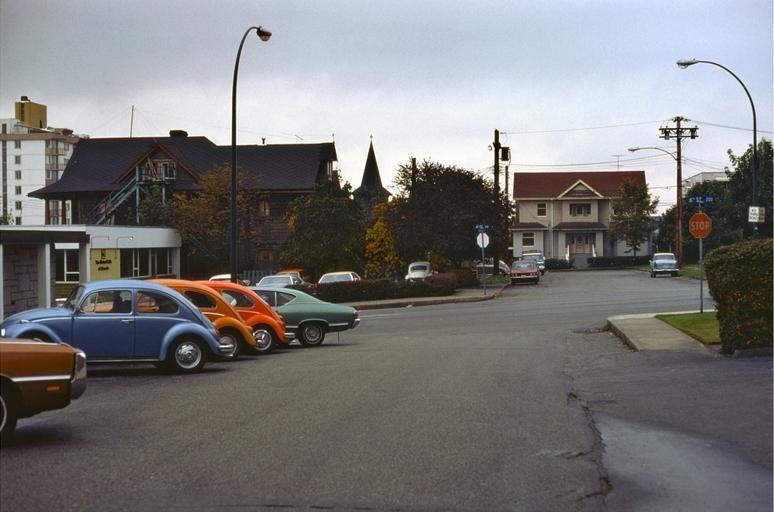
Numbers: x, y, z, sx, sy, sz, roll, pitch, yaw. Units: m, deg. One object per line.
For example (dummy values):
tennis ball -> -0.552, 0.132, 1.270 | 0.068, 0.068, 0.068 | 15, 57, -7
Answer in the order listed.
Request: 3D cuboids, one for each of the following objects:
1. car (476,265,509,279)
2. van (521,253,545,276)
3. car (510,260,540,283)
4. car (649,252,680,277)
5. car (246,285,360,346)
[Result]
car -> 8.490, 1.187, 66.247 | 2.805, 1.155, 1.832 | 1, -1, 3
van -> 12.097, 0.926, 69.626 | 1.858, 2.013, 3.305 | 0, 3, 17
car -> 8.870, 1.064, 54.647 | 1.223, 1.043, 2.729 | -1, -3, 6
car -> 19.192, 0.576, 58.855 | 1.215, 1.091, 2.283 | -1, -3, 7
car -> -2.384, 1.738, 24.837 | 2.701, 0.982, 1.481 | 1, 1, -2
